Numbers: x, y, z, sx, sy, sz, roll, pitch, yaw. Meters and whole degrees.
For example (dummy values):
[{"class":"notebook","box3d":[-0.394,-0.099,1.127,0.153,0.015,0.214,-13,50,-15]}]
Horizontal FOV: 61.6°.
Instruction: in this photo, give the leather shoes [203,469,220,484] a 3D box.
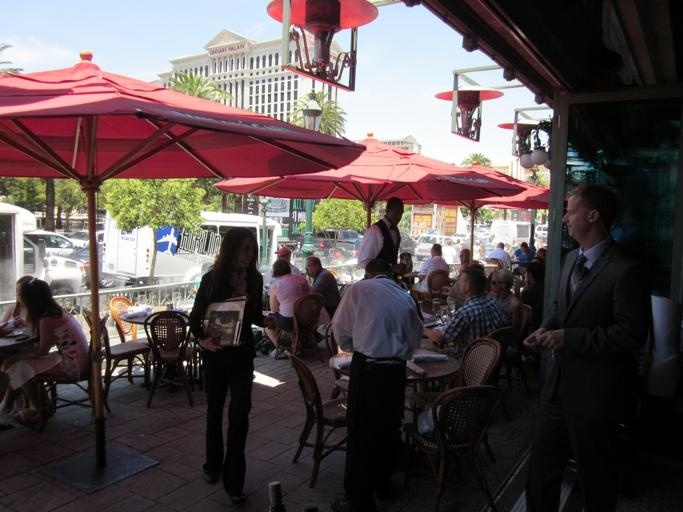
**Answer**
[{"class":"leather shoes","box3d":[-1.250,2.115,5.471,0.103,0.127,0.145,10,-23,-19]}]

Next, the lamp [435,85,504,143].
[{"class":"lamp","box3d":[2.383,-2.729,10.817,1.234,0.960,1.280,20,22,40]}]

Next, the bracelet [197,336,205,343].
[{"class":"bracelet","box3d":[-1.239,0.723,5.016,0.036,0.028,0.109,-10,1,2]}]

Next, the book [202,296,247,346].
[{"class":"book","box3d":[-1.000,0.569,4.958,0.394,0.407,0.107,0,-10,34]}]

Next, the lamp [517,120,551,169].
[{"class":"lamp","box3d":[3.515,-2.151,10.659,0.788,0.832,0.823,-8,15,19]}]

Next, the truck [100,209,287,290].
[{"class":"truck","box3d":[-4.796,-0.261,18.937,5.115,2.646,3.268,-4,4,-34]}]

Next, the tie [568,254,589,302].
[{"class":"tie","box3d":[1.718,0.166,4.143,0.145,0.394,0.051,-2,2,18]}]

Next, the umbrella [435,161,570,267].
[{"class":"umbrella","box3d":[3.538,-1.229,14.783,2.231,1.647,2.215,-3,9,34]}]

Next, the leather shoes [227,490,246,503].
[{"class":"leather shoes","box3d":[-0.955,2.156,5.185,0.072,0.073,0.167,2,-1,-42]}]

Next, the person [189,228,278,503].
[{"class":"person","box3d":[-1.041,0.962,5.224,0.605,2.439,0.641,1,9,5]}]
